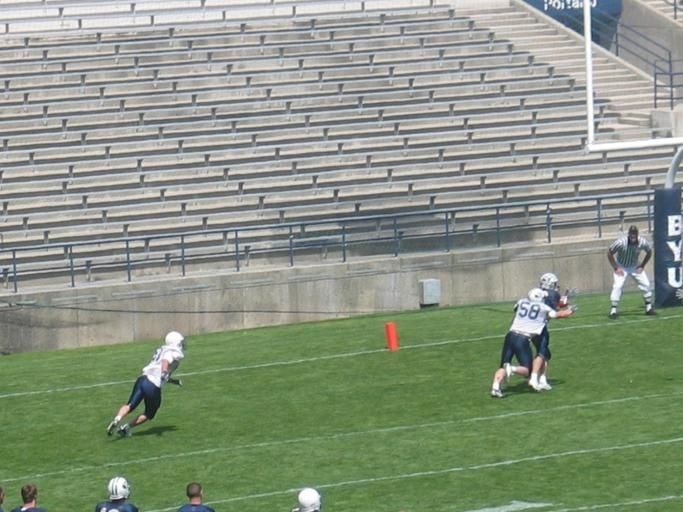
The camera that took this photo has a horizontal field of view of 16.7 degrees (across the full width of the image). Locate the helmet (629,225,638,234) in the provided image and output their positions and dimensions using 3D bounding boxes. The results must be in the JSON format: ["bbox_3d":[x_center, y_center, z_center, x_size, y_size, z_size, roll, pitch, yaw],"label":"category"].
[{"bbox_3d":[5.956,-0.544,47.503,0.154,0.185,0.164,7,-31,1],"label":"helmet"}]

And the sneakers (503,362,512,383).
[{"bbox_3d":[3.200,2.277,44.514,0.156,0.326,0.126,1,11,-18],"label":"sneakers"}]

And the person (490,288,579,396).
[{"bbox_3d":[3.543,1.688,44.601,1.385,2.041,0.403,-2,-3,3],"label":"person"}]

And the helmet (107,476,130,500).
[{"bbox_3d":[-3.844,4.094,40.938,0.345,0.368,0.401,3,32,2],"label":"helmet"}]

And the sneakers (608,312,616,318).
[{"bbox_3d":[5.618,1.248,48.321,0.115,0.094,0.279,1,7,6],"label":"sneakers"}]

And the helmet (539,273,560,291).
[{"bbox_3d":[4.016,0.498,45.171,0.299,0.351,0.350,19,10,37],"label":"helmet"}]

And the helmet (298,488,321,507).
[{"bbox_3d":[-0.530,4.194,40.352,0.341,0.303,0.290,-33,46,-29],"label":"helmet"}]

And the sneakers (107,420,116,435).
[{"bbox_3d":[-4.331,3.309,44.267,0.113,0.307,0.139,44,8,14],"label":"sneakers"}]

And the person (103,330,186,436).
[{"bbox_3d":[-3.706,2.492,44.523,1.491,1.958,1.146,-1,-3,-7],"label":"person"}]

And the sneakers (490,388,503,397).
[{"bbox_3d":[2.979,2.662,44.705,0.200,0.175,0.439,0,-3,2],"label":"sneakers"}]

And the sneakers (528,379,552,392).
[{"bbox_3d":[3.827,2.558,44.902,0.506,0.211,0.176,6,-5,-3],"label":"sneakers"}]
